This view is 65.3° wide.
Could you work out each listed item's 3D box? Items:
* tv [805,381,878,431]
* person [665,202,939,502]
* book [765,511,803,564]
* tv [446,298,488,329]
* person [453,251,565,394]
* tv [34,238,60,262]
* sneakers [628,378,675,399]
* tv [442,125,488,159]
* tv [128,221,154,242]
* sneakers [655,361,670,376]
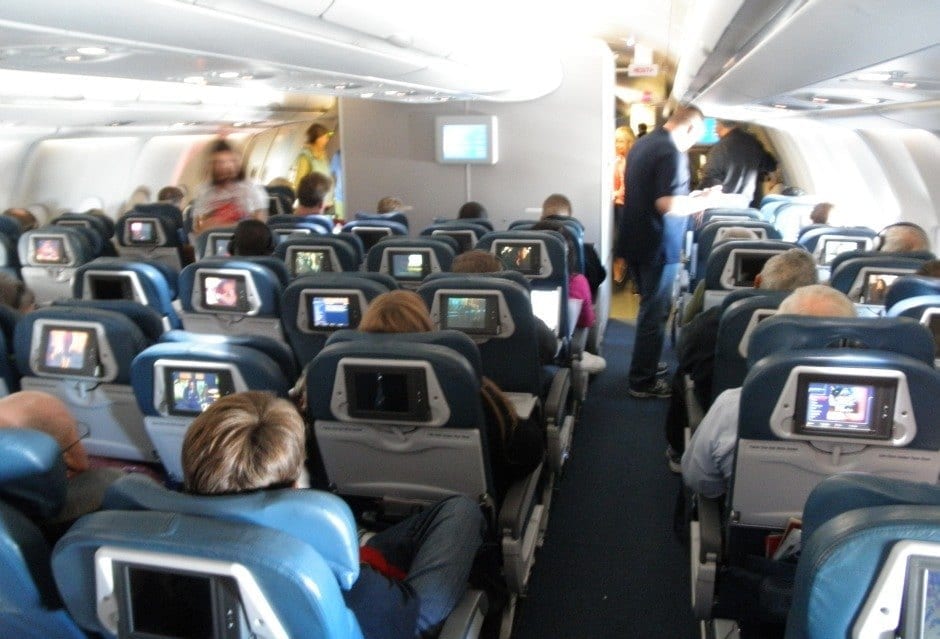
[{"bbox_3d":[1.420,0.336,2.847,0.258,0.206,0.135,4,-6,2],"label":"tv"},{"bbox_3d":[1.583,0.247,3.576,0.824,1.111,0.973,2,17,16],"label":"person"},{"bbox_3d":[1.258,0.897,2.958,0.123,0.241,0.261,3,10,21],"label":"book"},{"bbox_3d":[-0.010,-0.035,3.974,0.169,0.137,0.023,4,12,17],"label":"tv"},{"bbox_3d":[0.151,-0.025,4.414,0.632,0.837,0.734,3,26,28],"label":"person"},{"bbox_3d":[-4.245,-0.702,7.381,0.201,0.185,0.144,4,13,6],"label":"tv"},{"bbox_3d":[1.488,0.568,6.083,0.364,0.159,0.132,-4,9,4],"label":"sneakers"},{"bbox_3d":[-0.031,-2.203,9.379,0.774,0.509,0.414,3,13,16],"label":"tv"},{"bbox_3d":[-3.864,-1.035,8.643,0.224,0.204,0.116,4,14,7],"label":"tv"},{"bbox_3d":[1.635,0.421,6.269,0.133,0.159,0.185,-6,4,8],"label":"sneakers"}]
